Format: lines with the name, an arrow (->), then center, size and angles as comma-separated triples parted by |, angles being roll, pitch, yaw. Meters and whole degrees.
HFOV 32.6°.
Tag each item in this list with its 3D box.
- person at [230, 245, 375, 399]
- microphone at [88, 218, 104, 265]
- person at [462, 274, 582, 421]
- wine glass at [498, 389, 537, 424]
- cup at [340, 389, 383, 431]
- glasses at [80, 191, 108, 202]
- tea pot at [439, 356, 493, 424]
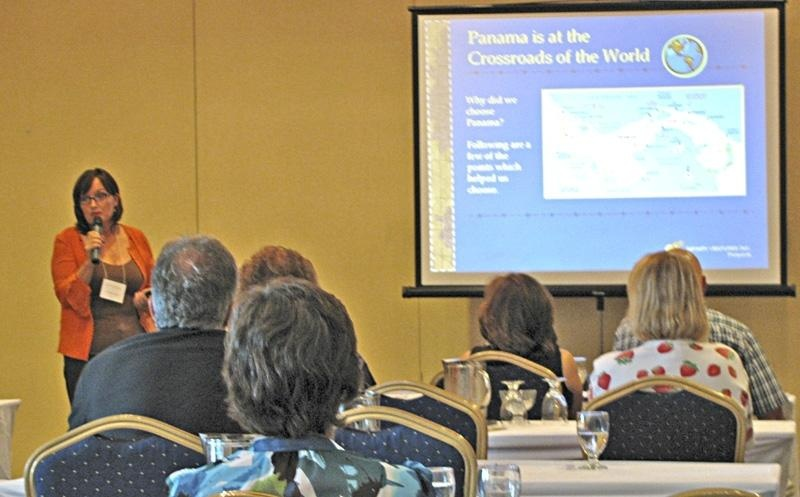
person -> -0.660, 0.529, 9.155 | 0.582, 1.258, 0.477 | -24, -3, -4
microphone -> -2.435, -0.059, 10.976 | 0.073, 0.405, 0.093 | -2, -37, -3
person -> 0.849, 0.696, 9.497 | 0.827, 1.257, 0.613 | 0, 7, 8
wine glass -> 0.762, 1.045, 8.972 | 0.238, 0.238, 0.159 | 18, -22, -42
cup -> -0.222, 0.999, 8.454 | 0.219, 0.226, 0.231 | 2, -2, 0
glasses -> -2.501, -0.421, 11.229 | 0.105, 0.038, 0.116 | -3, -27, -7
tea pot -> 0.388, 0.942, 9.035 | 0.436, 0.545, 0.295 | -1, -4, -4
